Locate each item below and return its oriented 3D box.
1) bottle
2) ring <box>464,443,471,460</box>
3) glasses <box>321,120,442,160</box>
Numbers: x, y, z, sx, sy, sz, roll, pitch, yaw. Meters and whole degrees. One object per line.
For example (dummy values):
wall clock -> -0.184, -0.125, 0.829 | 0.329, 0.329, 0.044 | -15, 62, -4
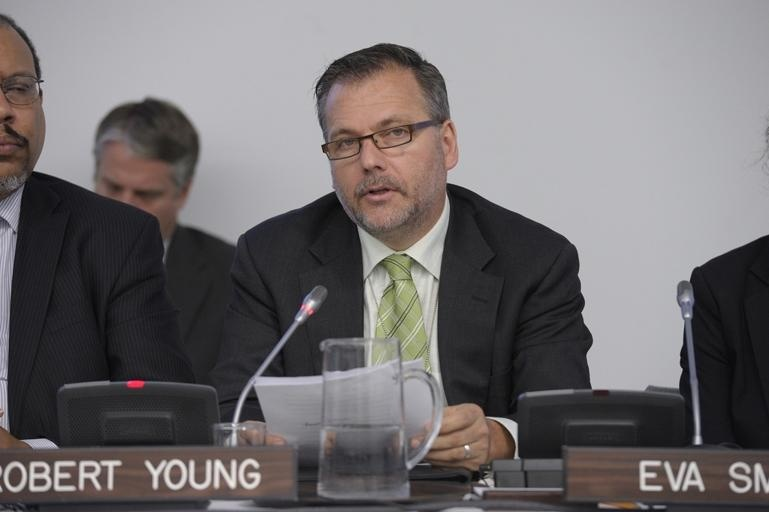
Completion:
bottle -> -0.003, 0.350, 1.604 | 0.279, 0.334, 0.165 | 3, -17, -17
ring -> 0.225, 0.530, 2.034 | 0.024, 0.037, 0.020 | 2, -16, -16
glasses -> -0.005, -0.418, 2.638 | 0.429, 0.171, 0.097 | -1, -16, -6
